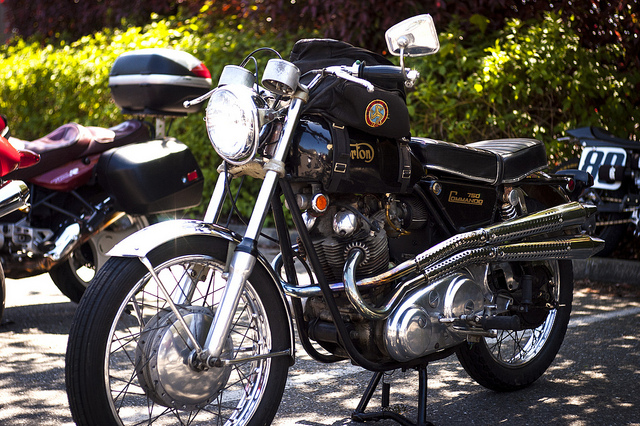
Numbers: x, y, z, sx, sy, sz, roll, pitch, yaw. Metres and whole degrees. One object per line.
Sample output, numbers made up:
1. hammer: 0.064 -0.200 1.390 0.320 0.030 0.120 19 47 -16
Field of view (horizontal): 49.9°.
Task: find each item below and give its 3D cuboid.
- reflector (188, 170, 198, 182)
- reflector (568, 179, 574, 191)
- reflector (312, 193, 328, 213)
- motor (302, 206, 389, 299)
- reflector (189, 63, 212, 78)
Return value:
1. reflector: -1.172 -0.350 6.312 0.013 0.073 0.096 2 11 33
2. reflector: 1.830 -0.215 5.028 0.014 0.066 0.063 0 4 36
3. reflector: 0.000 -0.063 3.984 0.030 0.099 0.099 -4 38 48
4. motor: 0.157 0.188 4.114 0.515 0.462 0.145 0 11 -1
5. reflector: -1.131 -1.373 6.542 0.105 0.075 0.160 6 3 22
